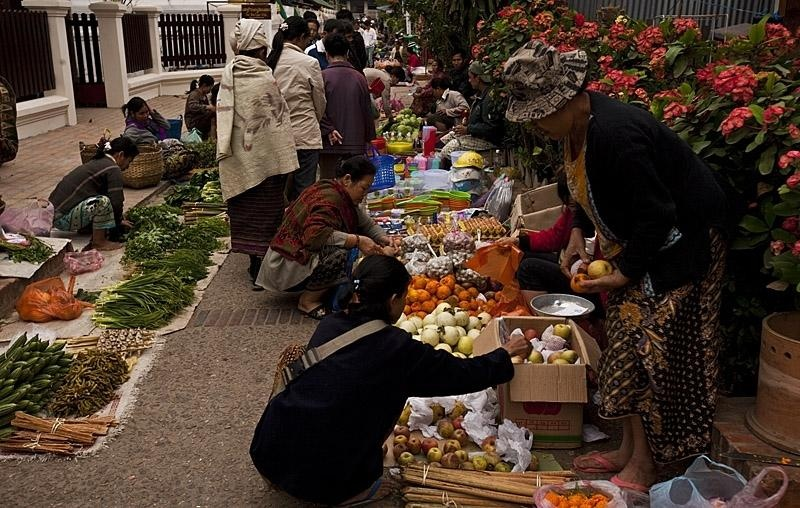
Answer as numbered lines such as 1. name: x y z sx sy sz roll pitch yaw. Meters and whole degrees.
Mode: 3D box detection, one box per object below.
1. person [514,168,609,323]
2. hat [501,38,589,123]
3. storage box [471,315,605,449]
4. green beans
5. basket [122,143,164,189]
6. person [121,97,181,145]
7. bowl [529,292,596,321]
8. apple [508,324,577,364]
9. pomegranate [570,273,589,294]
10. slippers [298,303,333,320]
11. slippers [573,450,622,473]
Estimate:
1. person: 1.409 -0.082 4.857 0.599 1.333 0.750 1 1 -10
2. hat: 0.852 -1.032 3.129 0.481 0.443 0.285 2 24 7
3. storage box: 1.026 0.932 3.766 1.006 0.897 0.508 0 0 4
4. green beans: -2.449 1.040 4.244 0.510 0.420 0.297 6 -5 -45
5. basket: -4.261 -1.491 8.867 0.716 0.508 0.716 -2 10 -15
6. person: -4.540 -2.437 9.562 0.521 0.882 2.007 -8 24 -16
7. bowl: 1.254 0.403 4.166 0.290 0.049 0.283 3 20 -1
8. apple: 1.137 0.699 3.994 0.359 0.122 0.345 -7 33 12
9. pomegranate: 1.142 0.189 3.435 0.117 0.112 0.116 2 6 42
10. slippers: -0.843 0.601 5.534 0.481 0.127 0.187 3 16 29
11. slippers: 1.338 1.431 3.617 0.251 0.064 0.137 2 18 12
